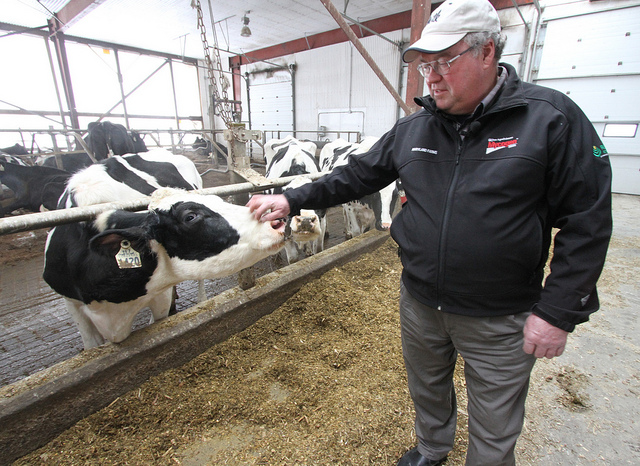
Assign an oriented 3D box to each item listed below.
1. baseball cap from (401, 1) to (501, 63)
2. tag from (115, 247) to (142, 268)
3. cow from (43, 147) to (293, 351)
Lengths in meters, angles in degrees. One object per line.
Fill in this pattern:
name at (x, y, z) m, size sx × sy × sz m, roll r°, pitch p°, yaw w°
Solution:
baseball cap at (0.625, -1.004, 1.842) m, size 0.379 × 0.192 × 0.249 m, roll -17°, pitch 37°, yaw -3°
tag at (-1.094, 0.137, 2.196) m, size 0.114 × 0.118 × 0.008 m, roll -9°, pitch 20°, yaw -24°
cow at (-1.012, 0.003, 3.567) m, size 1.114 × 1.475 × 2.840 m, roll 1°, pitch 7°, yaw 8°
